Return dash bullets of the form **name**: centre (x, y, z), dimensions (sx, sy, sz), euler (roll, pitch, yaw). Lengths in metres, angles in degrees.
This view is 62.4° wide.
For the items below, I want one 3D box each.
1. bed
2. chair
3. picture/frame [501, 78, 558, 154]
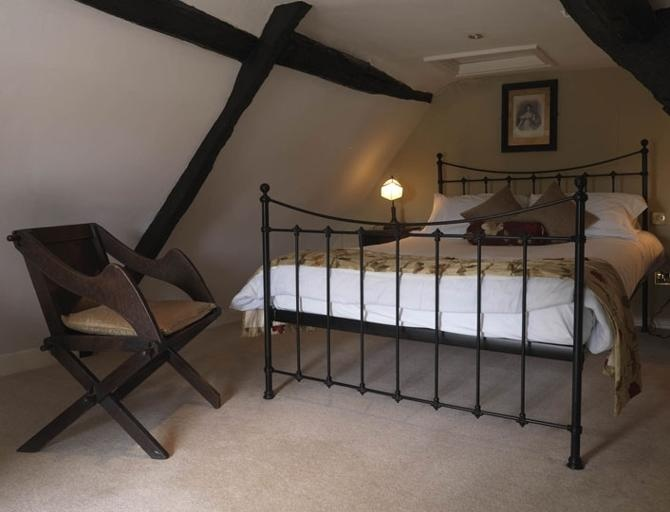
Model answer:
- **bed**: centre (1.136, 0.065, 3.800), dimensions (1.891, 1.628, 2.430), euler (2, 6, 31)
- **chair**: centre (-1.100, 0.367, 2.879), dimensions (0.901, 1.058, 0.699), euler (0, 12, 7)
- **picture/frame**: centre (1.698, -1.236, 4.789), dimensions (0.604, 0.865, 0.061), euler (3, 4, 35)
